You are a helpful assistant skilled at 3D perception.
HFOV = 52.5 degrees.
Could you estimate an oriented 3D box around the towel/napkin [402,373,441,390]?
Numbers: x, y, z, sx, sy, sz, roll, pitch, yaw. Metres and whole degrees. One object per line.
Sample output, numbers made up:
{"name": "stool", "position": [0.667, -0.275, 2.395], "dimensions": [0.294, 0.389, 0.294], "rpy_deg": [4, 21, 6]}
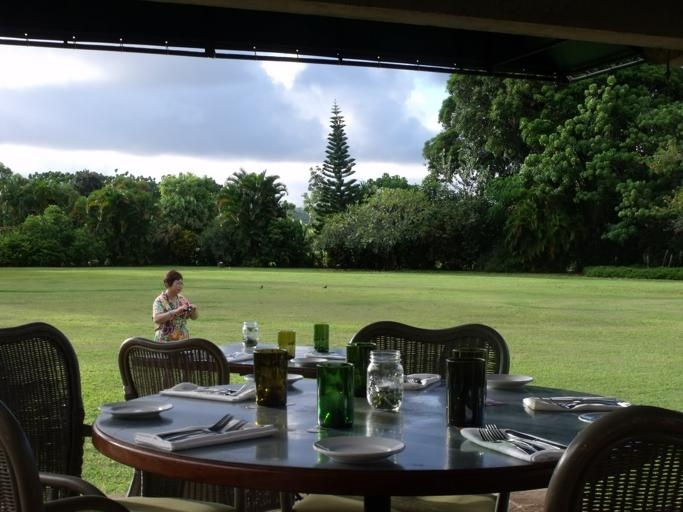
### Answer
{"name": "towel/napkin", "position": [0.347, 0.558, 3.055], "dimensions": [0.124, 0.037, 0.176], "rpy_deg": [1, 3, 8]}

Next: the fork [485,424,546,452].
{"name": "fork", "position": [0.536, 0.602, 2.272], "dimensions": [0.061, 0.031, 0.225], "rpy_deg": [-6, 4, -16]}

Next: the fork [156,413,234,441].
{"name": "fork", "position": [-0.470, 0.583, 2.402], "dimensions": [0.067, 0.068, 0.394], "rpy_deg": [-27, -15, 26]}

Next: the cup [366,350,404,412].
{"name": "cup", "position": [0.166, 0.485, 2.698], "dimensions": [0.153, 0.223, 0.154], "rpy_deg": [1, -5, 0]}

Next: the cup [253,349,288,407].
{"name": "cup", "position": [-0.283, 0.486, 2.766], "dimensions": [0.143, 0.212, 0.135], "rpy_deg": [-1, -1, 0]}

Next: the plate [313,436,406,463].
{"name": "plate", "position": [0.057, 0.606, 2.162], "dimensions": [0.277, 0.050, 0.175], "rpy_deg": [-1, 8, -18]}

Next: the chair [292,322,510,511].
{"name": "chair", "position": [0.399, 0.866, 3.991], "dimensions": [0.900, 1.246, 0.802], "rpy_deg": [0, -7, 14]}
